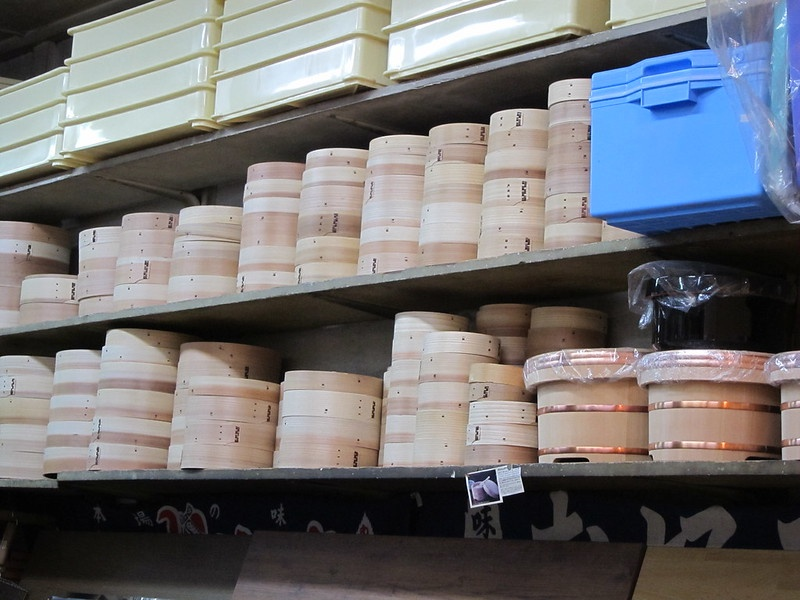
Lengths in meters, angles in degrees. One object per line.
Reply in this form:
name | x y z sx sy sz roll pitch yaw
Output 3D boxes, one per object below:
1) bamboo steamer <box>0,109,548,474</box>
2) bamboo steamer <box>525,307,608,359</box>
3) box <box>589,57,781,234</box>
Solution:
bamboo steamer | -0.228 0.020 3.926 1.870 1.159 0.470 -7 -15 32
bamboo steamer | 0.531 0.113 3.613 0.278 0.113 0.213 7 -15 -21
box | 0.811 -0.442 3.096 0.235 0.479 0.443 11 -17 -43
